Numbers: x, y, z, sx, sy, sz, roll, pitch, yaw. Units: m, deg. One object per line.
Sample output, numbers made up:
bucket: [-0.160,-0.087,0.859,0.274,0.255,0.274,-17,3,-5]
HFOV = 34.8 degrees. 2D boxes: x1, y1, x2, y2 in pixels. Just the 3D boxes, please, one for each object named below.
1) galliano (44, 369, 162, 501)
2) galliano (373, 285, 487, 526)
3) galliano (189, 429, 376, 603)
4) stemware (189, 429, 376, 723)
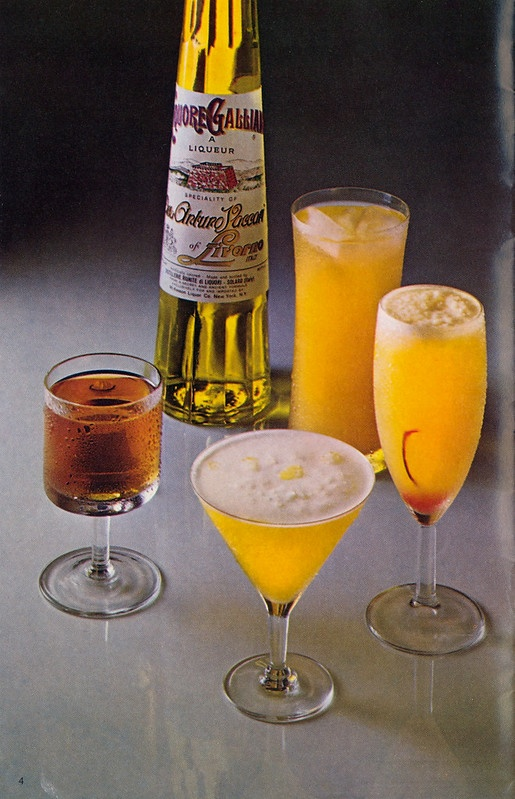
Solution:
galliano: [-0.118,0.028,0.553,0.092,0.082,0.086,3,3,12]
galliano: [0.113,0.006,0.557,0.071,0.156,0.123,4,15,8]
galliano: [0.026,0.067,0.486,0.103,0.112,0.095,-3,38,-3]
stemware: [0.013,0.108,0.459,0.098,0.110,0.097,3,5,39]
